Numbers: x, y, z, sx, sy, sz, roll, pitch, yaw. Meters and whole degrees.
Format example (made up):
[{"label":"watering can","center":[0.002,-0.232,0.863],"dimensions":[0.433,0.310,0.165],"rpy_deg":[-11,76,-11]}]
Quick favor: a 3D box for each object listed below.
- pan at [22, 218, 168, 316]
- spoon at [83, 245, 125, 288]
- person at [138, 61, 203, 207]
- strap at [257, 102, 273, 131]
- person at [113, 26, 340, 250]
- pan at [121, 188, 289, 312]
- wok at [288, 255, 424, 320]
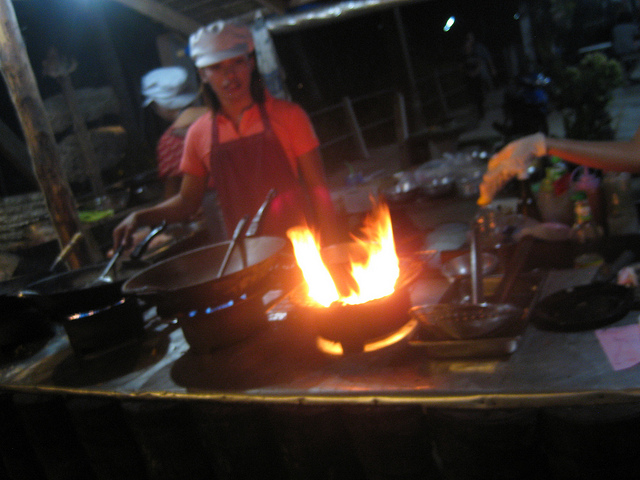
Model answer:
[{"label":"pan","center":[-1.405,0.205,3.656],"dimensions":[0.573,0.126,0.922],"rpy_deg":[3,17,31]},{"label":"spoon","center":[-1.359,0.184,3.574],"dimensions":[0.122,0.360,0.063],"rpy_deg":[15,-20,19]},{"label":"person","center":[-1.397,-1.061,5.282],"dimensions":[0.524,1.568,0.808],"rpy_deg":[-5,30,-5]},{"label":"strap","center":[-0.439,-0.982,4.434],"dimensions":[0.067,0.219,0.083],"rpy_deg":[-14,13,-8]},{"label":"person","center":[-0.688,-0.751,4.566],"dimensions":[1.320,1.779,0.551],"rpy_deg":[-6,14,23]},{"label":"pan","center":[-0.605,0.155,3.309],"dimensions":[0.642,0.144,0.985],"rpy_deg":[-6,23,35]},{"label":"wok","center":[0.284,0.266,3.063],"dimensions":[0.460,0.110,0.534],"rpy_deg":[-11,4,45]}]
